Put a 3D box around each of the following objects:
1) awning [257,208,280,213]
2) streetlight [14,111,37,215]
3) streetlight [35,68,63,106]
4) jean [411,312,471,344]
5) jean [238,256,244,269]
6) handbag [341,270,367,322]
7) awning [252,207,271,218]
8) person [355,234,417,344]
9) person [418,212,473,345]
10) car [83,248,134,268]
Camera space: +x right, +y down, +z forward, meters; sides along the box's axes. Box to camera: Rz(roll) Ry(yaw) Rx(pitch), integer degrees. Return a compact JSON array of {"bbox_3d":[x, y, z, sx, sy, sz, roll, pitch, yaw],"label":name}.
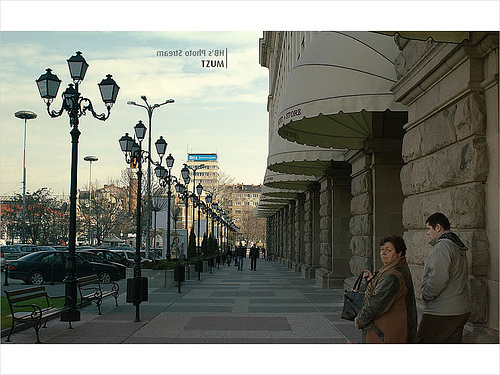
[{"bbox_3d":[1.909,2.579,56.201,2.209,0.411,0.107,0,15,-4],"label":"awning"},{"bbox_3d":[-7.325,-0.658,16.592,0.622,3.661,0.640,10,24,-3],"label":"streetlight"},{"bbox_3d":[-5.338,-2.571,13.520,0.520,1.254,0.508,-2,-6,20],"label":"streetlight"},{"bbox_3d":[2.805,2.181,7.449,0.965,0.575,0.668,3,-7,22],"label":"jean"},{"bbox_3d":[-0.714,5.600,37.990,0.278,0.923,0.664,-2,-5,4],"label":"jean"},{"bbox_3d":[1.528,1.655,7.732,0.380,0.760,0.434,0,1,3],"label":"handbag"},{"bbox_3d":[1.407,3.028,61.383,2.325,0.949,2.482,-3,-4,23],"label":"awning"},{"bbox_3d":[1.938,1.497,7.333,0.876,1.566,0.461,-2,-5,3],"label":"person"},{"bbox_3d":[2.815,1.350,7.463,0.779,1.945,0.528,-3,-5,14],"label":"person"},{"bbox_3d":[-8.511,4.243,30.571,2.668,1.014,1.343,4,0,-15],"label":"car"}]
